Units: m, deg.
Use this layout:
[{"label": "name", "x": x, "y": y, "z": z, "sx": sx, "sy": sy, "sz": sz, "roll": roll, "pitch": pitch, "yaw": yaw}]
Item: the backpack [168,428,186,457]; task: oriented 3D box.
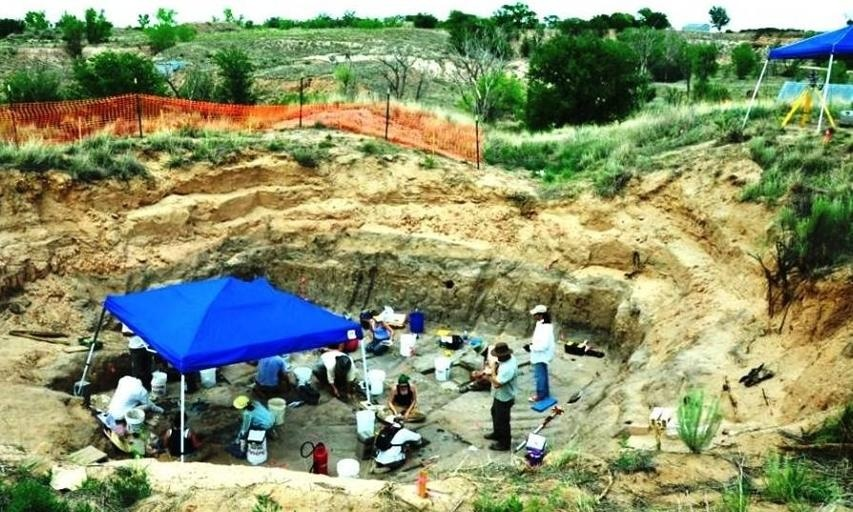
[{"label": "backpack", "x": -5.584, "y": 4.166, "z": 17.641, "sx": 0.482, "sy": 0.649, "sz": 0.408, "roll": 1, "pitch": 14, "yaw": -5}]

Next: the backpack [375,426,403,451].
[{"label": "backpack", "x": -0.871, "y": 4.042, "z": 17.718, "sx": 0.444, "sy": 0.569, "sz": 0.566, "roll": 12, "pitch": -15, "yaw": 0}]

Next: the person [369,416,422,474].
[{"label": "person", "x": -0.750, "y": 4.224, "z": 17.703, "sx": 1.178, "sy": 0.966, "sz": 0.710, "roll": 0, "pitch": -2, "yaw": -33}]

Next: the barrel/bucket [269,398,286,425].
[{"label": "barrel/bucket", "x": -3.492, "y": 3.635, "z": 18.592, "sx": 0.543, "sy": 0.566, "sz": 0.541, "roll": 0, "pitch": 10, "yaw": 0}]

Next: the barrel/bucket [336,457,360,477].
[{"label": "barrel/bucket", "x": -1.689, "y": 4.587, "z": 16.882, "sx": 0.430, "sy": 0.350, "sz": 0.632, "roll": 0, "pitch": 13, "yaw": -9}]

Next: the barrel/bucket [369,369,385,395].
[{"label": "barrel/bucket", "x": -1.240, "y": 3.119, "z": 19.665, "sx": 0.522, "sy": 0.526, "sz": 0.536, "roll": 0, "pitch": 0, "yaw": 0}]

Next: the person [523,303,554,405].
[{"label": "person", "x": 2.714, "y": 2.417, "z": 19.381, "sx": 0.892, "sy": 2.317, "sz": 1.063, "roll": 2, "pitch": 5, "yaw": 6}]

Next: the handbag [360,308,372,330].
[{"label": "handbag", "x": -1.693, "y": 1.758, "z": 21.958, "sx": 0.381, "sy": 0.494, "sz": 0.485, "roll": -1, "pitch": -2, "yaw": -6}]

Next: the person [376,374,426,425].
[{"label": "person", "x": -0.551, "y": 3.464, "z": 18.828, "sx": 1.349, "sy": 1.320, "sz": 1.050, "roll": 0, "pitch": 11, "yaw": -6}]

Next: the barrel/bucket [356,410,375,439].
[{"label": "barrel/bucket", "x": -1.407, "y": 3.834, "z": 18.035, "sx": 0.571, "sy": 0.578, "sz": 0.544, "roll": -2, "pitch": -7, "yaw": 0}]

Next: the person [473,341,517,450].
[{"label": "person", "x": 1.671, "y": 3.138, "z": 18.002, "sx": 0.615, "sy": 2.385, "sz": 0.811, "roll": 3, "pitch": 14, "yaw": 4}]

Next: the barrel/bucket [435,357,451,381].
[{"label": "barrel/bucket", "x": 0.386, "y": 2.845, "z": 20.156, "sx": 0.540, "sy": 0.509, "sz": 0.512, "roll": -1, "pitch": 16, "yaw": 0}]

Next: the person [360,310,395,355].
[{"label": "person", "x": -1.380, "y": 2.086, "z": 21.561, "sx": 0.873, "sy": 0.827, "sz": 1.314, "roll": 1, "pitch": 13, "yaw": -4}]

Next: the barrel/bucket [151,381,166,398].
[{"label": "barrel/bucket", "x": -6.530, "y": 3.255, "z": 19.379, "sx": 0.360, "sy": 0.318, "sz": 0.349, "roll": 8, "pitch": -1, "yaw": 0}]

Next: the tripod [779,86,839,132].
[{"label": "tripod", "x": 10.664, "y": -4.160, "z": 22.492, "sx": 1.535, "sy": 1.348, "sz": 1.480, "roll": 1, "pitch": 8, "yaw": -3}]
